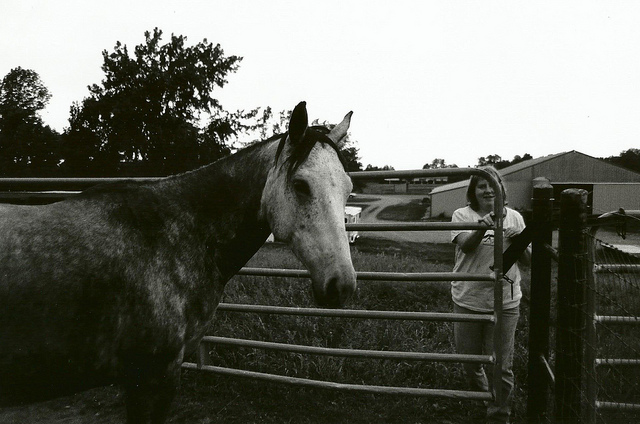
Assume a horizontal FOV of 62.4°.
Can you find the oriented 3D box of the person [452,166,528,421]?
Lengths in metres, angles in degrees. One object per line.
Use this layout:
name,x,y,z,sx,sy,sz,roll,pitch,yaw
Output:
person,1.643,0.774,5.157,0.714,2.466,0.777,0,0,23
